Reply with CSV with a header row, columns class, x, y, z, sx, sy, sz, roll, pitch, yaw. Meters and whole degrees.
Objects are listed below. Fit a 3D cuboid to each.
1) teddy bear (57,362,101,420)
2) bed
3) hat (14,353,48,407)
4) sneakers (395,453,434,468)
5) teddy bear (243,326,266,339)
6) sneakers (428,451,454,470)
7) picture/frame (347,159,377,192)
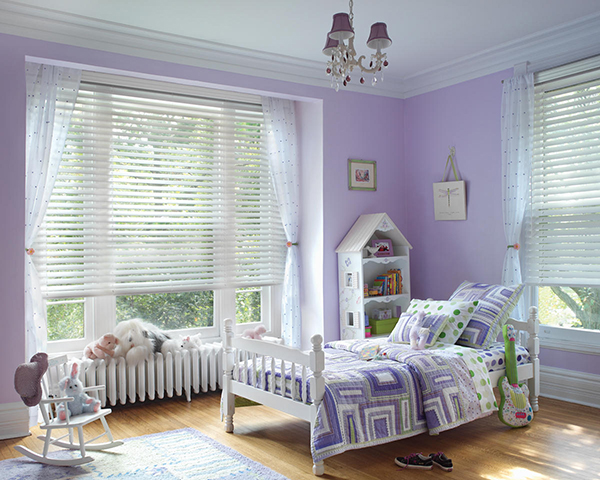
class,x,y,z,sx,sy,sz,roll,pitch,yaw
teddy bear,-1.551,1.038,3.270,0.203,0.329,0.275,-1,0,22
bed,0.559,0.888,3.639,1.564,0.809,1.146,4,-5,-31
hat,-1.755,0.917,3.157,0.112,0.325,0.226,6,-1,-7
sneakers,0.754,1.446,3.116,0.201,0.079,0.090,1,-5,7
teddy bear,-0.449,0.945,4.832,0.122,0.070,0.165,-1,-6,36
sneakers,0.930,1.423,3.098,0.061,0.059,0.156,2,1,-21
picture/frame,0.675,-0.716,5.306,0.360,0.319,0.029,1,-4,-34
